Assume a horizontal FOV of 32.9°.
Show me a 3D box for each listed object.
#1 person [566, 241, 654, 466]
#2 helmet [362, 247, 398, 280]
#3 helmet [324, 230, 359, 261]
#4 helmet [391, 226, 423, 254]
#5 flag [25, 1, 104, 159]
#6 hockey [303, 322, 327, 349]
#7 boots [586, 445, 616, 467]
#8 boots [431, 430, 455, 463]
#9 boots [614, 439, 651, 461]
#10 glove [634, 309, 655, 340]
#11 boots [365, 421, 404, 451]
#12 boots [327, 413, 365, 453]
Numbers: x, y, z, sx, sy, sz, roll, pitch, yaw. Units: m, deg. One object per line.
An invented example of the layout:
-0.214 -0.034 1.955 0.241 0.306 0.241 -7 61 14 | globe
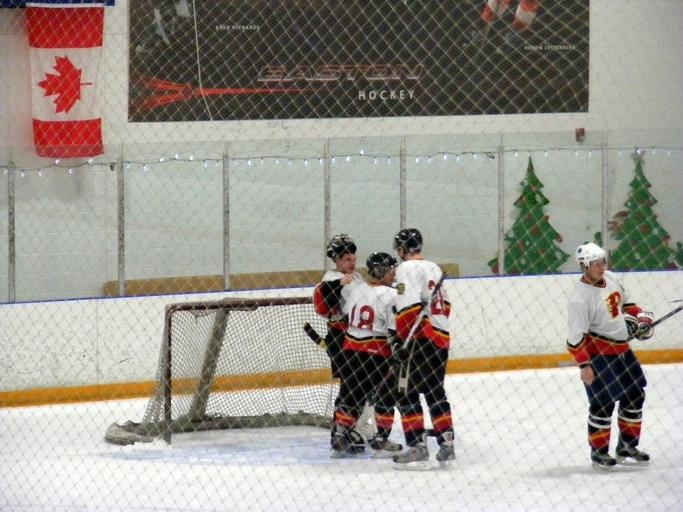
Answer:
2.250 0.830 9.696 0.703 1.833 0.432 2 6 12 | person
0.331 0.070 9.928 0.235 0.214 0.183 -25 6 21 | helmet
-0.011 -0.081 10.017 0.250 0.254 0.201 -29 6 11 | helmet
0.579 -0.123 9.951 0.216 0.236 0.176 16 13 31 | helmet
-3.084 -2.034 12.979 0.956 1.562 0.275 3 6 14 | flag
-0.239 0.733 10.518 0.067 0.262 0.069 -27 -12 -49 | hockey
2.164 1.690 9.597 0.198 0.159 0.112 -6 -1 34 | boots
0.876 1.622 9.712 0.123 0.299 0.282 -2 -1 -7 | boots
2.433 1.619 9.611 0.262 0.195 0.149 -1 2 9 | boots
2.559 0.602 9.805 0.137 0.262 0.084 0 6 -1 | glove
0.341 1.599 9.978 0.393 0.331 0.144 1 0 2 | boots
0.041 1.600 10.021 0.164 0.246 0.378 1 -4 -24 | boots
